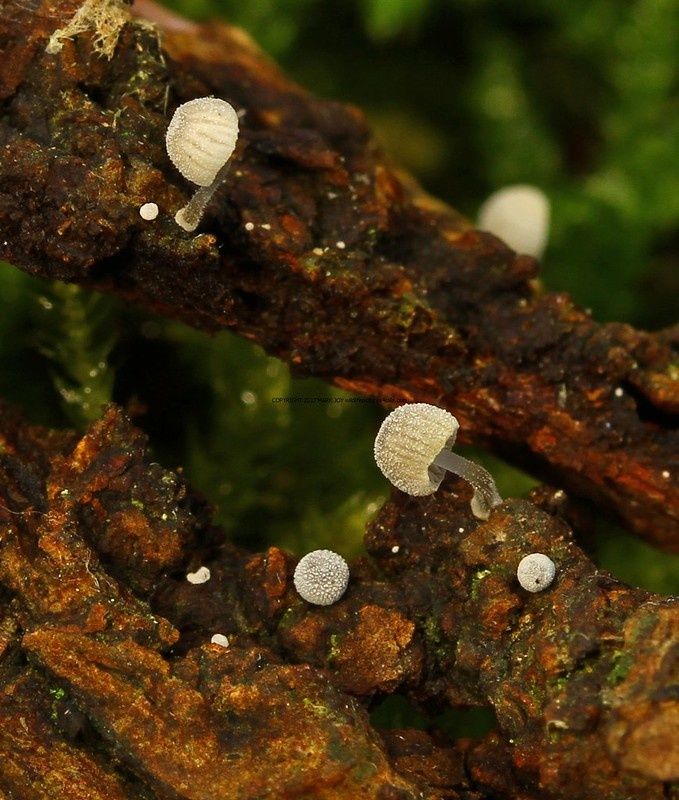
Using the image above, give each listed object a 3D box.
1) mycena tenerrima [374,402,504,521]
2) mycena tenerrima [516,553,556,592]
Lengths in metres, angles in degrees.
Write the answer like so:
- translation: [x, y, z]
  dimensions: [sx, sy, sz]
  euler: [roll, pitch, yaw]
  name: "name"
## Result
- translation: [0.434, 0.263, 4.684]
  dimensions: [0.569, 0.344, 0.315]
  euler: [35, 29, -4]
  name: "mycena tenerrima"
- translation: [0.811, 0.711, 4.429]
  dimensions: [0.148, 0.160, 0.162]
  euler: [13, 55, 16]
  name: "mycena tenerrima"
